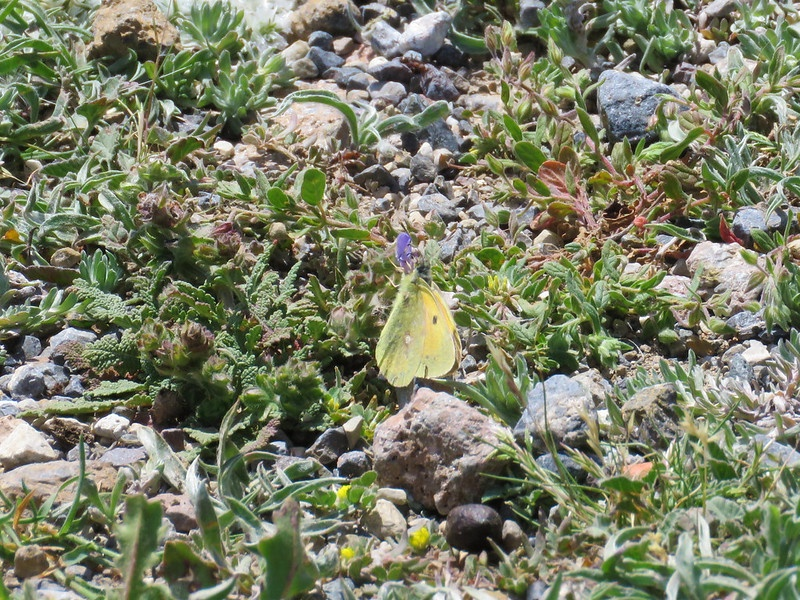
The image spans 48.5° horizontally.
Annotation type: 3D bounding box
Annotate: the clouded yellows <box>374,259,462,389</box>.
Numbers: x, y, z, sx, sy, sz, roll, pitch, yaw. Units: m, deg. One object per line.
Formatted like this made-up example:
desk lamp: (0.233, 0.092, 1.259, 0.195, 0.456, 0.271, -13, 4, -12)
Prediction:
clouded yellows: (0.049, 0.100, 3.119, 0.373, 0.264, 0.456, 7, 105, 21)
